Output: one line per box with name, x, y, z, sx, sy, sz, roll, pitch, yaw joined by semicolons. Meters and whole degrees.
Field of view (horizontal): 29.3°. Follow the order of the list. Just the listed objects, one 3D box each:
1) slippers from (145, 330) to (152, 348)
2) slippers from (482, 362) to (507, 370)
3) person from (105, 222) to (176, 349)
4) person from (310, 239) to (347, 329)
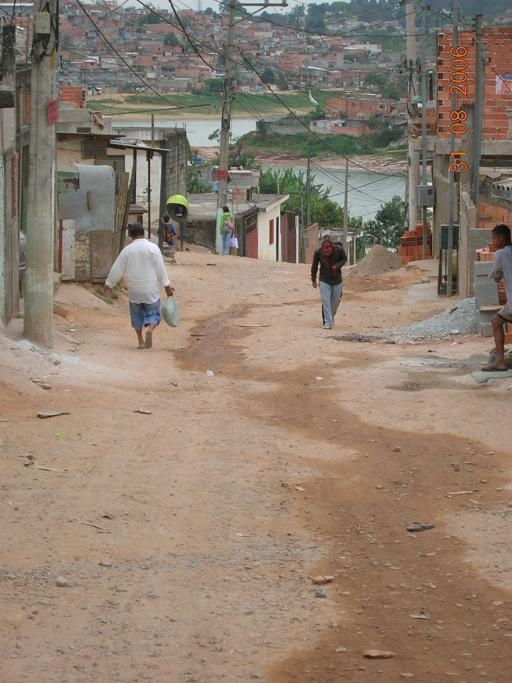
slippers;-1.373;-0.033;12.302;0.092;0.226;0.105;5;9;5
slippers;2.520;0.261;10.337;0.244;0.087;0.087;2;2;13
person;-1.452;-0.678;12.167;0.797;1.592;0.448;4;13;2
person;1.093;-0.908;15.138;0.496;1.381;0.871;5;12;4
